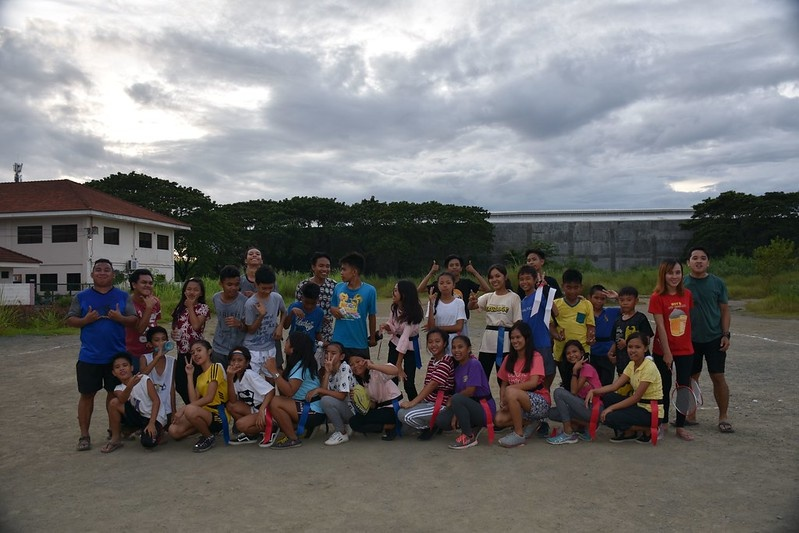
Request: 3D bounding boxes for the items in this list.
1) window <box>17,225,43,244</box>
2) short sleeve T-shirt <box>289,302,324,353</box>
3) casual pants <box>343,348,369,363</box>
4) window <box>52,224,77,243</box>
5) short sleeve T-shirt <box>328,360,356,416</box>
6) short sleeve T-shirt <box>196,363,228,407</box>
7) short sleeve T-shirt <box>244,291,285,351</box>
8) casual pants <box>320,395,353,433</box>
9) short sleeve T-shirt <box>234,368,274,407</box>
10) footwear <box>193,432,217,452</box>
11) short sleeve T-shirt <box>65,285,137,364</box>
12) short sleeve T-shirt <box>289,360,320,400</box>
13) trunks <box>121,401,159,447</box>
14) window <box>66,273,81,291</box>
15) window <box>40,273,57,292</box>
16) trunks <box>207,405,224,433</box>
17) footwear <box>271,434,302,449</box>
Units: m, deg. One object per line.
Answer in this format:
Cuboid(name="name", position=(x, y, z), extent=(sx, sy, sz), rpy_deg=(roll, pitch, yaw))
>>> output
Cuboid(name="window", position=(-18.121, -1.617, 28.694), extent=(0.975, 0.637, 0.048), rpy_deg=(0, 8, 7))
Cuboid(name="short sleeve T-shirt", position=(-1.307, 0.868, 8.187), extent=(0.602, 0.694, 0.370), rpy_deg=(8, 10, -4))
Cuboid(name="casual pants", position=(-0.576, 1.191, 7.922), extent=(0.224, 0.171, 0.230), rpy_deg=(-4, -33, 8))
Cuboid(name="window", position=(-16.293, -1.682, 28.482), extent=(0.964, 0.661, 0.070), rpy_deg=(0, 6, 6))
Cuboid(name="short sleeve T-shirt", position=(-0.748, 1.596, 7.554), extent=(0.430, 0.513, 0.301), rpy_deg=(-38, -49, 17))
Cuboid(name="short sleeve T-shirt", position=(-2.366, 1.516, 7.406), extent=(0.427, 0.399, 0.233), rpy_deg=(-14, -30, 17))
Cuboid(name="short sleeve T-shirt", position=(-1.815, 0.737, 7.831), extent=(0.763, 0.869, 0.376), rpy_deg=(5, -12, -24))
Cuboid(name="casual pants", position=(-0.793, 1.861, 7.519), extent=(0.451, 0.576, 0.473), rpy_deg=(-4, -10, 5))
Cuboid(name="short sleeve T-shirt", position=(-1.895, 1.599, 7.541), extent=(0.556, 0.512, 0.271), rpy_deg=(-12, -1, 22))
Cuboid(name="footwear", position=(-2.417, 2.154, 7.215), extent=(0.212, 0.178, 0.297), rpy_deg=(0, 6, 2))
Cuboid(name="short sleeve T-shirt", position=(-3.771, 0.740, 7.414), extent=(0.822, 0.943, 0.384), rpy_deg=(-1, 20, -34))
Cuboid(name="short sleeve T-shirt", position=(-1.243, 1.476, 7.544), extent=(0.411, 0.378, 0.224), rpy_deg=(11, -44, 1))
Cuboid(name="trunks", position=(-3.240, 1.942, 7.264), extent=(0.636, 0.533, 0.290), rpy_deg=(2, 7, 21))
Cuboid(name="window", position=(-15.935, 0.730, 28.555), extent=(0.878, 1.116, 0.112), rpy_deg=(-2, 3, -18))
Cuboid(name="window", position=(-17.170, 0.759, 28.612), extent=(0.885, 0.789, 0.117), rpy_deg=(-6, -15, -12))
Cuboid(name="trunks", position=(-2.282, 1.924, 7.372), extent=(0.202, 0.367, 0.190), rpy_deg=(-1, 7, -6))
Cuboid(name="footwear", position=(-1.406, 2.209, 7.279), extent=(0.347, 0.133, 0.126), rpy_deg=(4, -16, -7))
